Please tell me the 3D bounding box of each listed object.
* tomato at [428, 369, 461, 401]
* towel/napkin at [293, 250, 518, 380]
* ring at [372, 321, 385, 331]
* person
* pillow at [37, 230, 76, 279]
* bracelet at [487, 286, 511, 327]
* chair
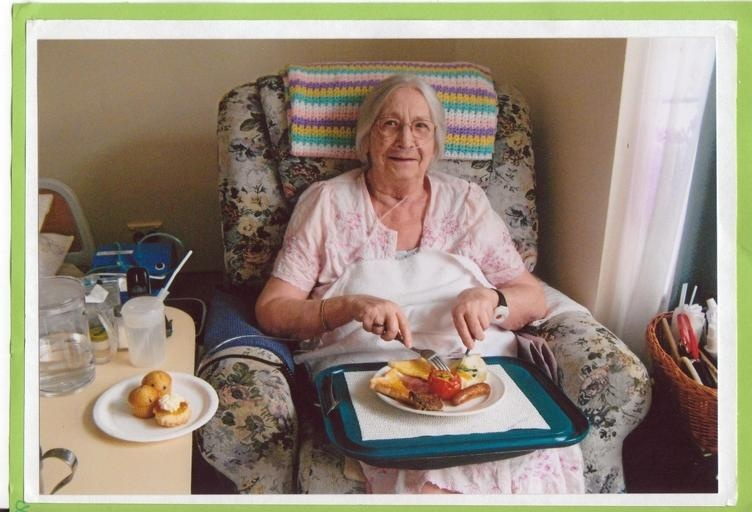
[{"bbox_3d":[0.145,0.275,1.323,0.059,0.052,0.056,14,14,19],"label":"tomato"},{"bbox_3d":[0.096,0.113,1.480,0.354,0.138,0.370,7,61,-8],"label":"towel/napkin"},{"bbox_3d":[0.007,0.166,1.459,0.021,0.020,0.007,1,55,11],"label":"ring"},{"bbox_3d":[0.095,-0.040,1.766,0.992,0.801,0.636,-1,11,-10],"label":"person"},{"bbox_3d":[-0.727,-0.004,1.435,0.035,0.107,0.117,11,-5,15],"label":"pillow"},{"bbox_3d":[0.306,0.130,1.549,0.059,0.081,0.032,-4,12,25],"label":"bracelet"},{"bbox_3d":[0.009,0.042,1.743,1.060,1.222,1.062,-2,13,-7],"label":"chair"}]
